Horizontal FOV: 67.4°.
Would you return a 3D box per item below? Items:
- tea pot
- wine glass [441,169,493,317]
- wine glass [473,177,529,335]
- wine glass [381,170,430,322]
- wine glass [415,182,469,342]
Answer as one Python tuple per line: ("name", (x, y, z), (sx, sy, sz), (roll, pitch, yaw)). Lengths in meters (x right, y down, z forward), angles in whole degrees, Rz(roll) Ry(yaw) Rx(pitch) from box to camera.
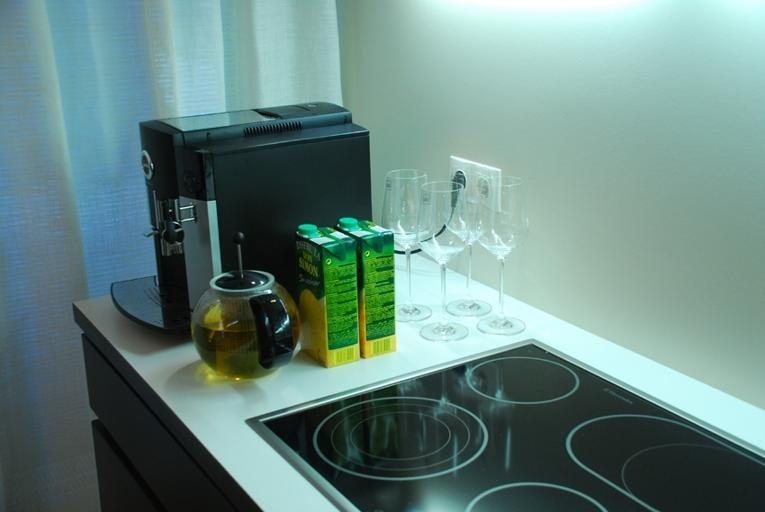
("tea pot", (-0.264, 0.104, 1.114), (0.190, 0.268, 0.145), (8, 24, 23))
("wine glass", (0.207, -0.023, 1.364), (0.140, 0.354, 0.148), (-13, 20, -36))
("wine glass", (0.262, 0.011, 1.277), (0.099, 0.344, 0.120), (-12, 27, -22))
("wine glass", (0.048, -0.009, 1.345), (0.135, 0.354, 0.118), (-5, 24, -8))
("wine glass", (0.123, 0.031, 1.253), (0.108, 0.356, 0.105), (-16, 30, -27))
